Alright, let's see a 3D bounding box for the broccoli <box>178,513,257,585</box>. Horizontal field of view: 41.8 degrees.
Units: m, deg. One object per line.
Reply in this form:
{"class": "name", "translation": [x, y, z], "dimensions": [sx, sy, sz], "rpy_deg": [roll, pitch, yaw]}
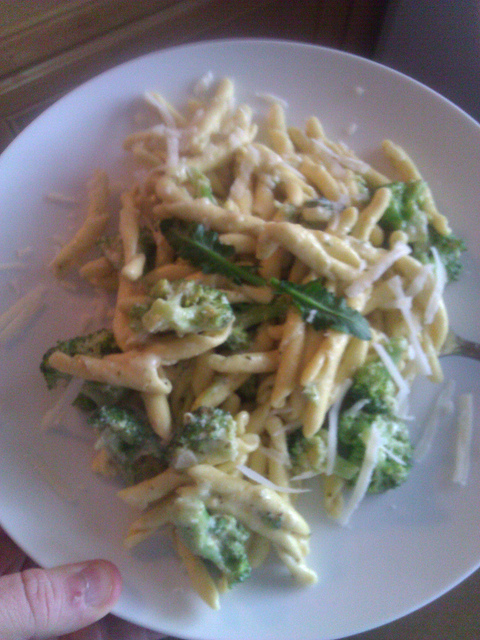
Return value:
{"class": "broccoli", "translation": [-0.039, 0.565, 1.582], "dimensions": [0.193, 0.197, 0.122], "rpy_deg": [41, 81, 5]}

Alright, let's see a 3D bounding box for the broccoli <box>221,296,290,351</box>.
{"class": "broccoli", "translation": [0.038, -0.026, 1.787], "dimensions": [0.183, 0.199, 0.051], "rpy_deg": [-17, 104, 25]}

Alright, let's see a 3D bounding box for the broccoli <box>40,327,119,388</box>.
{"class": "broccoli", "translation": [-0.445, 0.099, 1.718], "dimensions": [0.230, 0.073, 0.129], "rpy_deg": [-28, 82, 11]}

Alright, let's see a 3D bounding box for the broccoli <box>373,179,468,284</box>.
{"class": "broccoli", "translation": [0.563, -0.263, 1.937], "dimensions": [0.216, 0.084, 0.335], "rpy_deg": [-38, 86, 8]}

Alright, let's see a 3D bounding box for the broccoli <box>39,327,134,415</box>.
{"class": "broccoli", "translation": [-0.409, 0.145, 1.796], "dimensions": [0.337, 0.237, 0.117], "rpy_deg": [-6, 59, -28]}

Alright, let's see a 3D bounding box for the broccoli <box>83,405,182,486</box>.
{"class": "broccoli", "translation": [-0.300, 0.322, 1.668], "dimensions": [0.146, 0.124, 0.217], "rpy_deg": [-39, 83, -8]}

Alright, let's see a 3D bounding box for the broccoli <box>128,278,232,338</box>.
{"class": "broccoli", "translation": [-0.152, -0.026, 1.600], "dimensions": [0.218, 0.077, 0.150], "rpy_deg": [-12, 69, 1]}

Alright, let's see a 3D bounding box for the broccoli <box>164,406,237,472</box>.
{"class": "broccoli", "translation": [-0.085, 0.299, 1.634], "dimensions": [0.161, 0.062, 0.157], "rpy_deg": [18, 103, 3]}

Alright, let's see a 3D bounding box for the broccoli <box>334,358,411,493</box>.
{"class": "broccoli", "translation": [0.342, 0.292, 1.759], "dimensions": [0.267, 0.114, 0.340], "rpy_deg": [10, 79, -18]}
